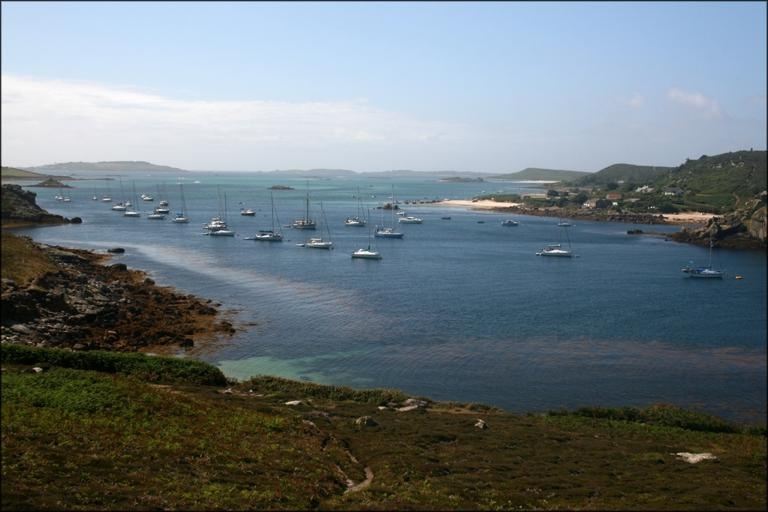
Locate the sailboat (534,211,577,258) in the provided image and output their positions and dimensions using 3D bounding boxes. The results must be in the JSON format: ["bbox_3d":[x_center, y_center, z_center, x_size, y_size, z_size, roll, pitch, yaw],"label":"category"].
[{"bbox_3d":[42.138,-5.091,157.798,7.928,7.994,72.824,-1,2,15],"label":"sailboat"}]
